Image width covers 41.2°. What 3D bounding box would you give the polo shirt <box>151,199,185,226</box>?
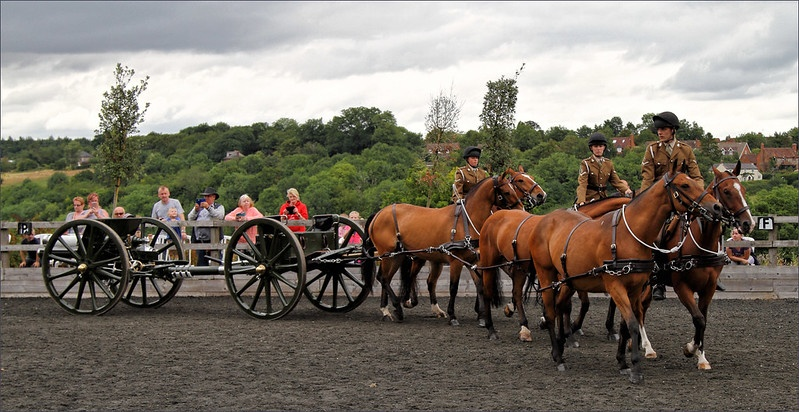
[{"bbox_3d":[-8.191,0.266,37.401,1.401,0.951,0.469,1,-6,-7],"label":"polo shirt"}]

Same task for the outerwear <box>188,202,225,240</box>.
[{"bbox_3d":[-6.778,0.557,37.211,1.308,1.407,1.011,-6,-21,12],"label":"outerwear"}]

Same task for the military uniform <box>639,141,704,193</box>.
[{"bbox_3d":[8.227,-1.411,32.585,2.621,2.179,1.555,-1,3,12],"label":"military uniform"}]

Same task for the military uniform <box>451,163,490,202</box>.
[{"bbox_3d":[2.390,-0.716,35.023,1.446,1.183,0.806,-5,15,-29],"label":"military uniform"}]

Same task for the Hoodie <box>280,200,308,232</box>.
[{"bbox_3d":[-3.684,0.443,36.340,1.106,1.116,0.741,3,20,-4],"label":"Hoodie"}]

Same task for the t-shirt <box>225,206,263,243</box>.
[{"bbox_3d":[-5.355,0.678,36.329,1.516,1.298,0.821,0,-15,-1],"label":"t-shirt"}]

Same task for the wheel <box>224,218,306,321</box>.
[{"bbox_3d":[-4.375,2.051,34.589,3.577,3.042,1.015,5,4,30],"label":"wheel"}]

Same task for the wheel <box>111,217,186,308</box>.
[{"bbox_3d":[-8.759,1.989,35.440,3.816,2.866,2.590,-3,-11,-17],"label":"wheel"}]

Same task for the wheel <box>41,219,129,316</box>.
[{"bbox_3d":[-10.310,2.022,34.560,0.650,3.240,3.704,-7,-8,31],"label":"wheel"}]
